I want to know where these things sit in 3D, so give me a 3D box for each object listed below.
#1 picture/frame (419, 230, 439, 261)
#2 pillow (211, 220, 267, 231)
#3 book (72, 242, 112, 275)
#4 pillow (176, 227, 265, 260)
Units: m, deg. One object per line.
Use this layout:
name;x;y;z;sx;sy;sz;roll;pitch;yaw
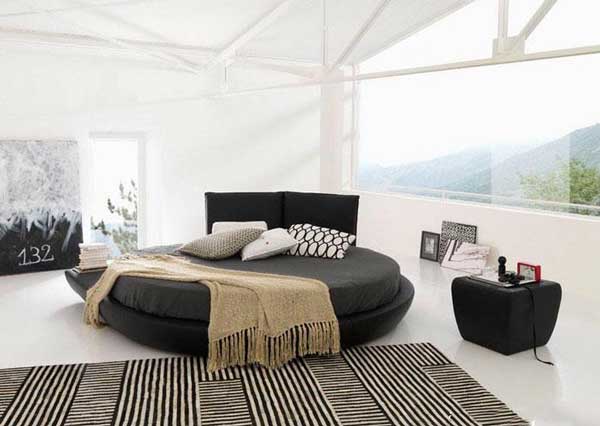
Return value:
picture/frame;2.134;0.533;6.821;0.038;0.559;0.461;2;1;-37
pillow;-0.809;0.155;5.347;0.294;0.110;0.297;-1;3;28
book;-2.470;0.496;4.952;0.474;0.349;0.315;-2;6;-42
pillow;-0.881;0.343;4.762;0.537;0.163;0.493;-15;5;-11
